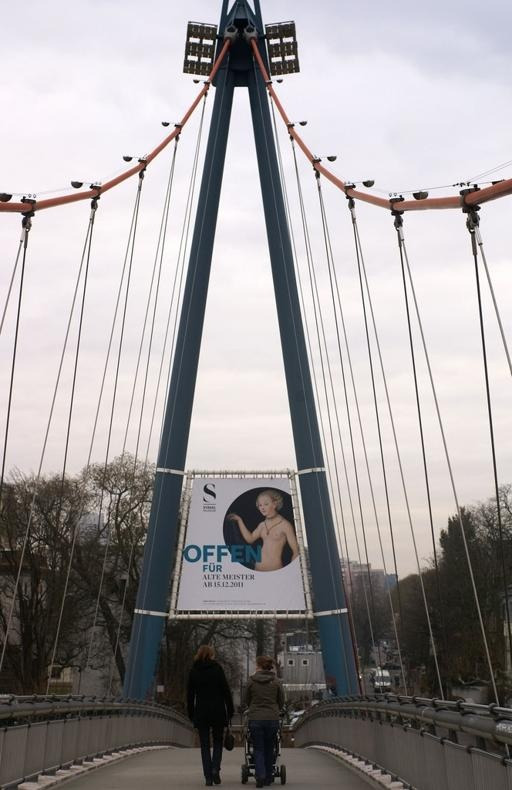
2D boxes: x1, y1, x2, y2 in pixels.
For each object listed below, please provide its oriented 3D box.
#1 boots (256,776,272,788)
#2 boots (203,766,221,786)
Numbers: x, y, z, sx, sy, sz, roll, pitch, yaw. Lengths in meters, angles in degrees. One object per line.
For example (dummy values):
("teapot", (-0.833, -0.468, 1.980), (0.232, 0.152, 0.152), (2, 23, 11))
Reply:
("boots", (0.066, 3.435, 7.515), (0.088, 0.106, 0.253), (-2, -31, 6))
("boots", (-0.384, 3.330, 7.390), (0.094, 0.113, 0.273), (-2, -21, 7))
